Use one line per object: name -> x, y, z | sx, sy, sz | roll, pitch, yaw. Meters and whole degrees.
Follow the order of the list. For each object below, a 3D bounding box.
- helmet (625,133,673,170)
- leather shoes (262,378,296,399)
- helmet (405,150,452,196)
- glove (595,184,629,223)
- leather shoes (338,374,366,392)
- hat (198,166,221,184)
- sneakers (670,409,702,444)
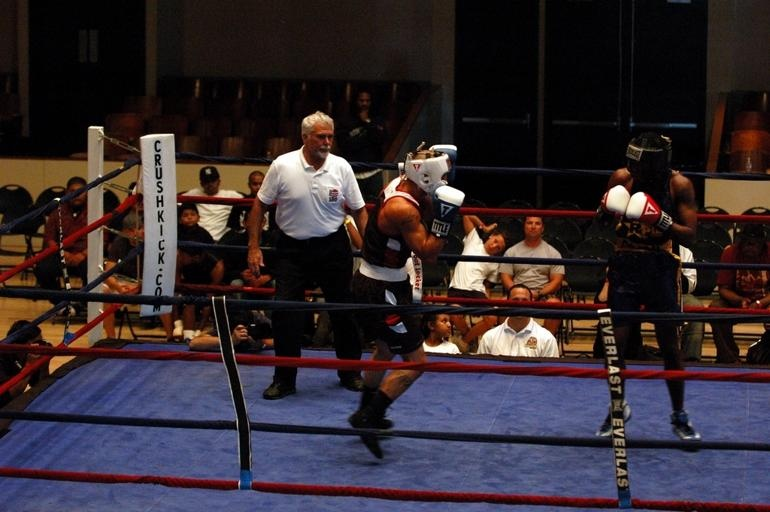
helmet -> 1.390, -0.540, 4.747 | 0.229, 0.143, 0.190 | -11, 19, -34
leather shoes -> -0.607, 0.770, 5.251 | 0.201, 0.070, 0.085 | 0, 2, -34
helmet -> 0.215, -0.424, 4.716 | 0.272, 0.196, 0.198 | -12, 14, 16
glove -> 1.185, -0.261, 4.744 | 0.155, 0.186, 0.072 | 15, 50, -6
leather shoes -> -0.196, 0.747, 5.327 | 0.144, 0.050, 0.068 | -1, 5, 28
hat -> -1.606, -0.731, 8.226 | 0.167, 0.094, 0.202 | -9, -5, -8
sneakers -> 1.537, 0.875, 4.681 | 0.123, 0.122, 0.322 | -6, 1, -1
